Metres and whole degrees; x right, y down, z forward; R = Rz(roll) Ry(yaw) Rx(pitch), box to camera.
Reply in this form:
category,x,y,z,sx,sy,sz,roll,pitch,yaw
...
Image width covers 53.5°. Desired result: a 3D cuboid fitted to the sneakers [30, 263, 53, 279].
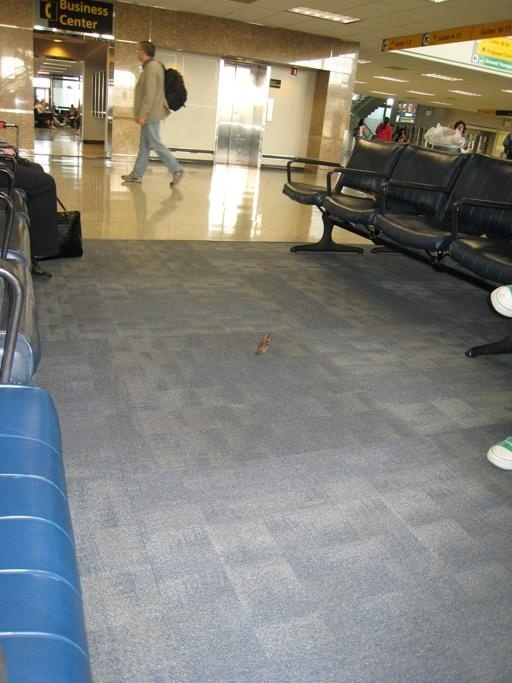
category,x,y,z,sx,sy,sz,roll,pitch,yaw
sneakers,-1.244,-0.415,2.978,0.171,0.103,0.053,-4,31,-21

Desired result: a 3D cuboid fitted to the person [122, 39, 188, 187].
category,x,y,z,sx,sy,sz,roll,pitch,yaw
person,-1.394,-3.167,7.141,0.863,1.861,1.190,5,21,-10

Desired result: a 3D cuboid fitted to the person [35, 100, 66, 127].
category,x,y,z,sx,sy,sz,roll,pitch,yaw
person,-6.501,-7.045,15.705,0.450,0.714,0.899,25,26,36
